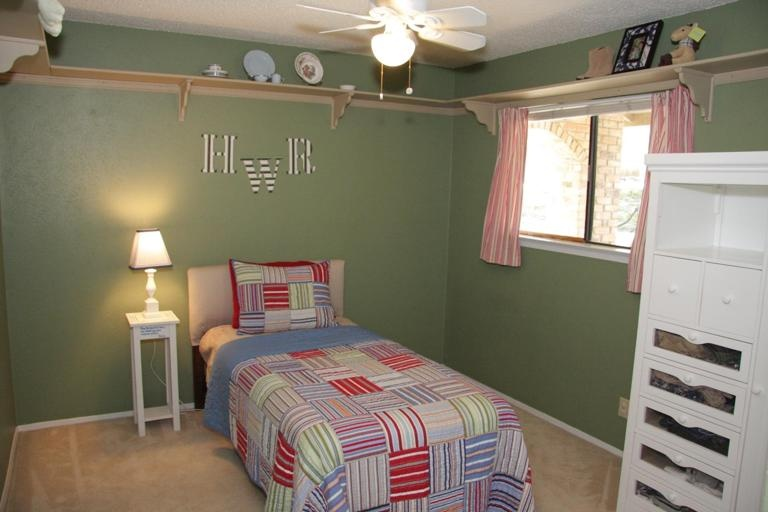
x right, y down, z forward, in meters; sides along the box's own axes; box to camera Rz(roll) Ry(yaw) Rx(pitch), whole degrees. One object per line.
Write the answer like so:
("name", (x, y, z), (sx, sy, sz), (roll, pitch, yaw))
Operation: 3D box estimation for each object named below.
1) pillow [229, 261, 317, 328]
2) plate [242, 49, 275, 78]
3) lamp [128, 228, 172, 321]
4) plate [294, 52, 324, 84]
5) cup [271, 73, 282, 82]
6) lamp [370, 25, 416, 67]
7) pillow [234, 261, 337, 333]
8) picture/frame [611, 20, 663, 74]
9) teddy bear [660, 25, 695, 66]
("pillow", (-0.989, 0.355, 4.717), (0.571, 0.361, 0.136), (-4, -15, -17))
("plate", (-1.139, -1.754, 4.874), (0.289, 0.265, 0.123), (-4, 7, -13))
("lamp", (-2.021, 0.133, 4.615), (0.315, 0.730, 0.351), (-6, 8, -26))
("plate", (-0.726, -1.759, 5.114), (0.262, 0.307, 0.061), (-36, 17, -24))
("cup", (-0.986, -1.626, 4.890), (0.092, 0.112, 0.173), (-4, 6, -11))
("lamp", (0.055, -1.381, 3.551), (0.299, 0.188, 0.292), (-1, 5, -24))
("pillow", (-0.913, 0.368, 4.868), (0.937, 0.633, 0.344), (0, 4, -32))
("picture/frame", (1.964, -1.624, 4.155), (0.364, 0.376, 0.210), (1, 8, 29))
("teddy bear", (2.161, -1.551, 3.915), (0.234, 0.331, 0.188), (9, 20, 16))
